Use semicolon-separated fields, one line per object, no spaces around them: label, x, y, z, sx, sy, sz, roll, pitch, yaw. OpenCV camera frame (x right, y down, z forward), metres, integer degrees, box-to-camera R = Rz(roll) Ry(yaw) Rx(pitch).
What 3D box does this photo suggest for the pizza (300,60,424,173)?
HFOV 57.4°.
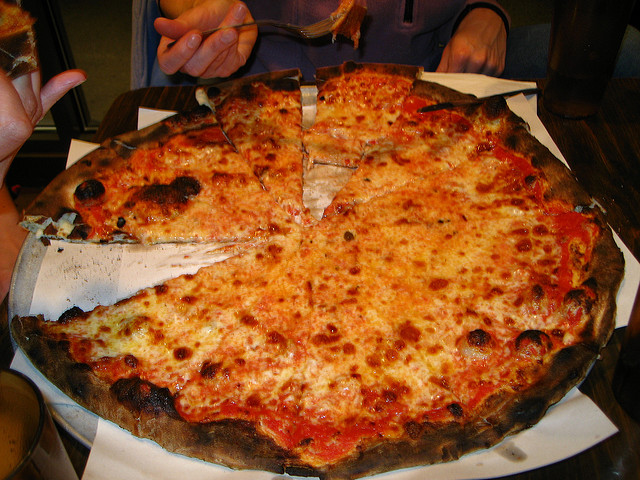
pizza;0.133;-0.397;1.859;0.393;0.120;0.317;-2;75;2
